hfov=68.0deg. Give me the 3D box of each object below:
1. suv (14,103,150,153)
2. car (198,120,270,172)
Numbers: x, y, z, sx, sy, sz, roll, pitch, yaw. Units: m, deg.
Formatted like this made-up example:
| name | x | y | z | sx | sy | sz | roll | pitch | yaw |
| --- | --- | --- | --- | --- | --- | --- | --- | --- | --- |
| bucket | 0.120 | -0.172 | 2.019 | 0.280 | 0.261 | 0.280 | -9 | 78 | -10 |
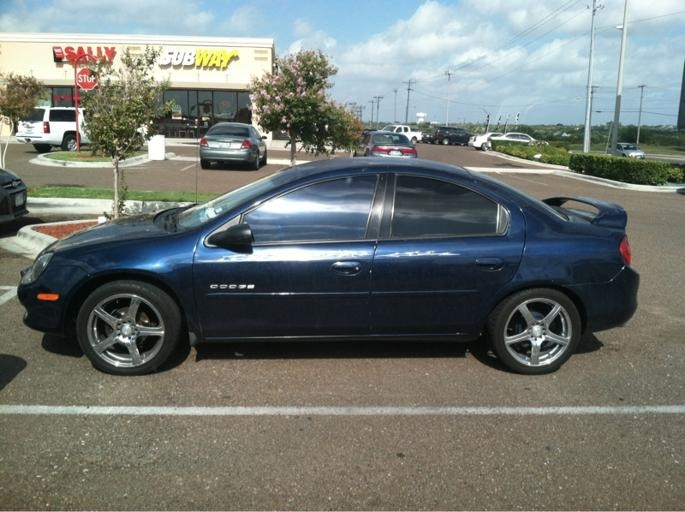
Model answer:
| name | x | y | z | sx | sy | sz | roll | pitch | yaw |
| --- | --- | --- | --- | --- | --- | --- | --- | --- | --- |
| suv | -15.962 | -6.922 | 27.614 | 2.881 | 2.407 | 6.486 | -10 | 18 | -32 |
| car | -4.714 | -5.123 | 22.883 | 1.694 | 1.247 | 3.761 | 2 | 19 | -3 |
